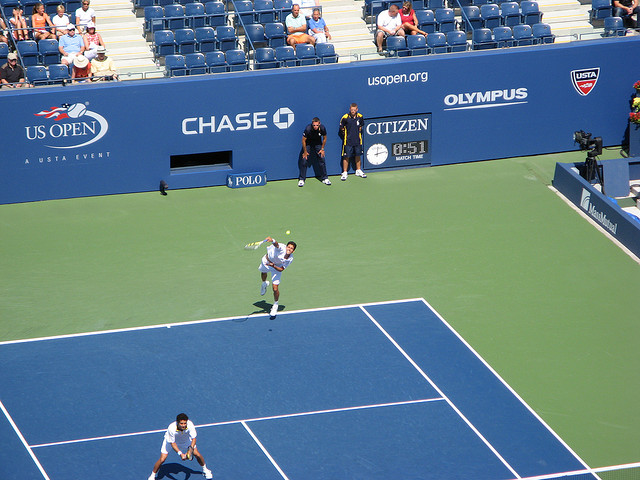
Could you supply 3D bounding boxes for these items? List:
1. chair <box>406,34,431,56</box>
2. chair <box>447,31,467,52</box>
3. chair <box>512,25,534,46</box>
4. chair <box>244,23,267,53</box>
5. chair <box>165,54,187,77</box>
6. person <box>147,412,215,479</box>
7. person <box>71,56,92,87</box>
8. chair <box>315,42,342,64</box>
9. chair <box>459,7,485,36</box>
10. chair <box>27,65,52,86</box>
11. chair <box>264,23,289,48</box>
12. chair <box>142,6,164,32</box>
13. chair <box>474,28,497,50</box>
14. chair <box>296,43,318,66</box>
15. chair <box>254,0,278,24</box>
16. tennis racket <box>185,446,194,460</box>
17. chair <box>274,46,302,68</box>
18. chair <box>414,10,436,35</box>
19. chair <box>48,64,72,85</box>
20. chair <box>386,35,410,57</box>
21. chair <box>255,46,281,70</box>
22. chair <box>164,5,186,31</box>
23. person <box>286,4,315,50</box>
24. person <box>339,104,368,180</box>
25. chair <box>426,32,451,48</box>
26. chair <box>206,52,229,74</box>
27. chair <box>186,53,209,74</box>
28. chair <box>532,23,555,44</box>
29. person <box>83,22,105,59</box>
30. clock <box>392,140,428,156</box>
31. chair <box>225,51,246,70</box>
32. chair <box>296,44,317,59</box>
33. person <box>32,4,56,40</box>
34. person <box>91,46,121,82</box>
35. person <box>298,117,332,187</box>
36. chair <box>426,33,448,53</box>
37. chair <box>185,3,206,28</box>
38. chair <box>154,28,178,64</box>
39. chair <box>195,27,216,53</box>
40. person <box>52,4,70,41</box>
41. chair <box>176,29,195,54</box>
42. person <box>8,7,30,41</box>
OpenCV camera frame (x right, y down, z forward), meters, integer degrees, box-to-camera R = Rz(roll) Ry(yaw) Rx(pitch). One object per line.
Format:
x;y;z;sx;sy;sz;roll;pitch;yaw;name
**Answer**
3.015;-5.869;28.777;0.701;0.750;0.676;-6;25;-11;chair
4.260;-6.212;29.110;0.528;0.806;0.700;-2;17;-3;chair
6.381;-6.535;29.591;0.603;0.486;1.066;-1;20;12;chair
-1.892;-6.045;28.309;0.699;0.943;0.691;-13;10;-24;chair
-4.194;-5.090;27.115;0.533;0.814;0.669;-3;12;-13;chair
-2.819;4.229;18.919;0.941;1.197;0.809;-6;38;-15;person
-6.780;-4.898;26.649;0.549;0.856;0.306;7;-4;-14;person
0.229;-5.641;28.156;0.531;0.725;0.716;-8;18;-15;chair
4.831;-7.015;29.939;0.745;1.031;0.694;-6;32;-9;chair
-7.918;-4.706;26.387;0.604;0.579;0.556;-6;13;-20;chair
-1.357;-6.238;28.635;0.754;0.834;0.699;-7;26;-15;chair
-4.978;-6.713;28.259;0.642;0.808;0.703;-5;21;-20;chair
5.137;-6.299;29.369;0.659;0.708;0.634;-1;15;-4;chair
-0.400;-5.654;28.115;0.607;0.725;0.617;-6;10;-12;chair
-1.713;-7.060;29.286;0.813;0.877;0.746;-5;19;-16;chair
-2.557;4.179;18.317;0.117;0.403;0.160;7;46;-6;tennis racket
-0.941;-5.551;27.968;0.661;0.715;0.593;-5;11;-16;chair
3.355;-6.928;29.931;0.728;0.937;0.785;-2;21;-4;chair
-7.392;-4.733;26.676;0.593;0.686;0.553;-3;10;-15;chair
2.321;-5.959;28.586;0.704;0.790;0.640;-3;13;-14;chair
-1.534;-5.476;27.834;0.620;0.782;0.614;-3;14;-13;chair
-4.361;-6.735;28.379;0.653;0.927;0.726;-6;23;-17;chair
-0.639;-6.630;28.667;0.799;1.194;0.690;-5;19;-1;person
0.965;-3.009;28.126;0.697;2.391;0.879;3;20;20;person
3.626;-6.221;29.068;0.632;0.613;0.595;-4;20;-8;chair
-3.015;-5.219;27.465;0.681;0.741;0.613;-6;19;-19;chair
-3.582;-5.178;27.272;0.582;0.693;0.596;-4;17;-20;chair
7.082;-6.502;29.635;0.544;0.781;0.758;-3;28;-7;chair
-6.508;-5.684;27.060;0.683;1.294;0.529;29;34;36;person
2.788;-2.884;28.953;0.895;0.508;0.197;-5;9;-5;clock
-2.476;-5.366;27.583;0.506;0.614;0.511;-1;4;-14;chair
-0.404;-5.762;28.214;0.530;0.570;0.505;0;6;-10;chair
-8.012;-6.361;27.050;0.626;0.934;0.664;-10;20;-16;person
-6.155;-5.015;26.809;0.947;1.091;0.826;7;19;23;person
-0.107;-2.731;27.812;1.011;2.220;1.028;6;33;4;person
3.646;-6.133;28.845;0.603;0.754;0.663;-4;12;-5;chair
-3.779;-6.855;28.412;0.600;0.845;0.701;-4;21;-16;chair
-4.498;-5.848;27.937;0.764;1.154;0.754;-7;28;-20;chair
-3.413;-6.018;28.128;0.617;0.918;0.719;-7;27;-20;chair
-7.513;-6.395;27.235;0.487;0.906;0.785;-9;20;-14;person
-4.017;-5.954;27.932;0.563;0.840;0.688;-7;33;-16;chair
-8.641;-6.241;26.894;0.473;0.888;0.757;-10;20;-16;person
